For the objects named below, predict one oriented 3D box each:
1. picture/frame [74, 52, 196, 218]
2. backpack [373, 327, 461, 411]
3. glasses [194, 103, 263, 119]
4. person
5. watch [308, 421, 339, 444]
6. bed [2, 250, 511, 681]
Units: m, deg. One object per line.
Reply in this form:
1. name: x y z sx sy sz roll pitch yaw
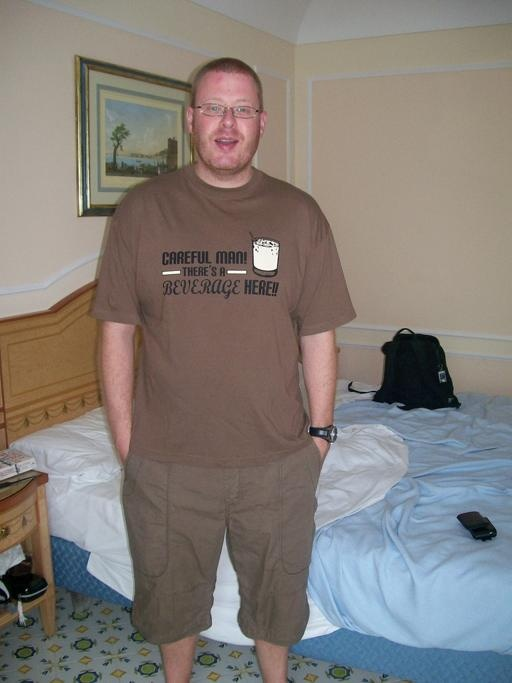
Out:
1. picture/frame: -0.545 -0.965 2.745 0.023 0.508 0.726 22 29 26
2. backpack: 0.934 0.212 3.633 0.628 0.604 0.404 0 -17 4
3. glasses: -0.058 -0.525 1.299 0.154 0.039 0.062 -2 10 -12
4. person: -0.063 0.131 1.384 0.625 1.581 0.299 -2 10 -11
5. watch: 0.182 0.245 1.520 0.069 0.039 0.054 0 18 1
6. bed: -0.037 0.328 2.260 1.753 1.043 1.144 3 15 17
